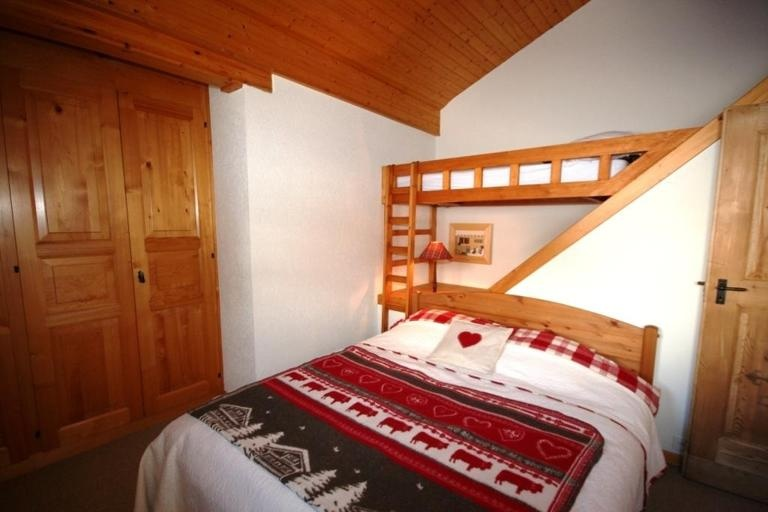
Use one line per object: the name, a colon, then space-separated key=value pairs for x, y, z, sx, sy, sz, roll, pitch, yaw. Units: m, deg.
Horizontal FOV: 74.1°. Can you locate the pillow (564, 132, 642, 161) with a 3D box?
pillow: x=2.000 y=-0.996 z=4.458 sx=0.557 sy=0.126 sz=0.415 roll=-9 pitch=10 yaw=-36
